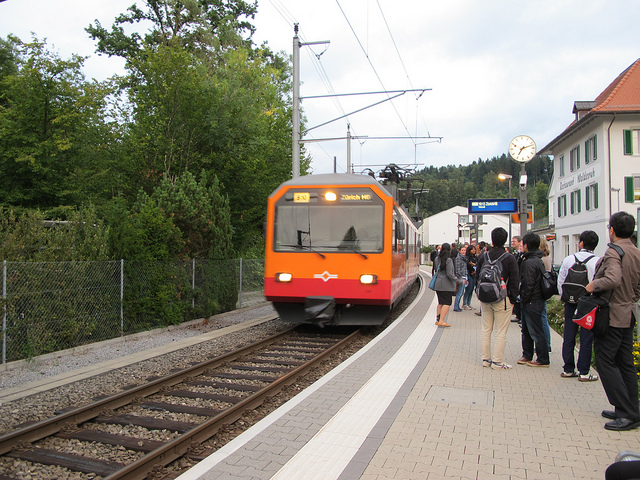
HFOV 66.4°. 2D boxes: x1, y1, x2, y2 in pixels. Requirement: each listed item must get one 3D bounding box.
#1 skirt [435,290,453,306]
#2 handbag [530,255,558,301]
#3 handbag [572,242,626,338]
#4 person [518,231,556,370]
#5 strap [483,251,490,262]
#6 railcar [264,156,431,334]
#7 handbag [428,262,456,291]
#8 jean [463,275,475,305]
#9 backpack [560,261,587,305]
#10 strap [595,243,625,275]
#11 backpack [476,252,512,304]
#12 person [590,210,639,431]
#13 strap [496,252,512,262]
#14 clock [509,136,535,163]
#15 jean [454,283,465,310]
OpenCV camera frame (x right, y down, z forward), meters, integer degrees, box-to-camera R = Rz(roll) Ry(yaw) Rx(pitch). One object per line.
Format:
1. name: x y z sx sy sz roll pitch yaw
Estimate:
1. skirt: 3.003 1.405 11.988 0.398 0.557 0.318 1 -17 1
2. handbag: 3.770 0.615 8.393 0.416 0.678 0.732 -8 5 -3
3. handbag: 3.482 0.577 6.148 0.423 1.141 0.453 6 6 2
4. person: 3.659 1.024 8.363 0.565 2.185 0.685 -3 5 -22
5. strap: 2.811 0.266 8.332 0.085 0.129 0.127 -8 -1 2
6. railcar: 1.506 0.081 16.162 3.147 5.141 10.479 0 -5 18
7. handbag: 2.980 0.901 12.246 0.564 0.904 0.769 5 -14 -2
8. jean: 4.650 1.552 15.448 0.322 1.004 0.780 -1 1 16
9. backpack: 3.730 0.609 7.188 0.547 0.583 0.332 -11 5 -42
10. strap: 3.583 0.215 6.069 0.199 0.288 0.292 15 28 19
11. backpack: 2.869 0.623 8.187 0.489 0.828 0.417 -1 1 21
12. person: 3.635 0.949 6.027 0.694 2.584 0.476 -2 1 -33
13. strap: 3.072 0.267 8.225 0.181 0.179 0.131 2 -24 3
14. clock: 5.623 -2.549 13.705 0.643 0.759 0.394 -1 1 24
15. jean: 4.292 1.704 15.161 0.314 0.750 0.688 -1 1 15
